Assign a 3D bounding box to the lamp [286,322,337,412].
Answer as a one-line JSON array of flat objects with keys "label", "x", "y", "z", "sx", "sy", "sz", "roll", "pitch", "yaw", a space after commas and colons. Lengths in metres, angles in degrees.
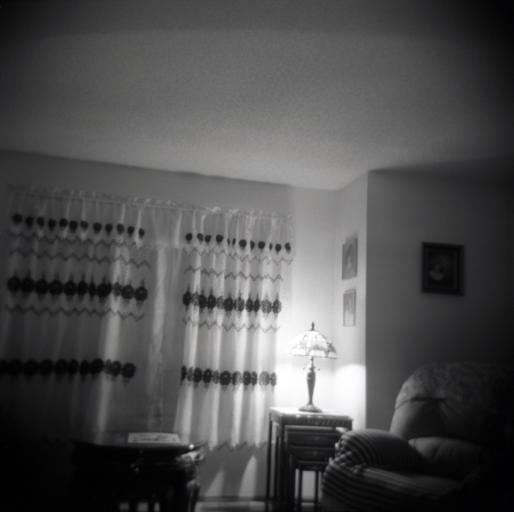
[{"label": "lamp", "x": 0.388, "y": 0.773, "z": 3.693, "sx": 0.309, "sy": 0.589, "sz": 0.326, "roll": -1, "pitch": -10, "yaw": 34}]
